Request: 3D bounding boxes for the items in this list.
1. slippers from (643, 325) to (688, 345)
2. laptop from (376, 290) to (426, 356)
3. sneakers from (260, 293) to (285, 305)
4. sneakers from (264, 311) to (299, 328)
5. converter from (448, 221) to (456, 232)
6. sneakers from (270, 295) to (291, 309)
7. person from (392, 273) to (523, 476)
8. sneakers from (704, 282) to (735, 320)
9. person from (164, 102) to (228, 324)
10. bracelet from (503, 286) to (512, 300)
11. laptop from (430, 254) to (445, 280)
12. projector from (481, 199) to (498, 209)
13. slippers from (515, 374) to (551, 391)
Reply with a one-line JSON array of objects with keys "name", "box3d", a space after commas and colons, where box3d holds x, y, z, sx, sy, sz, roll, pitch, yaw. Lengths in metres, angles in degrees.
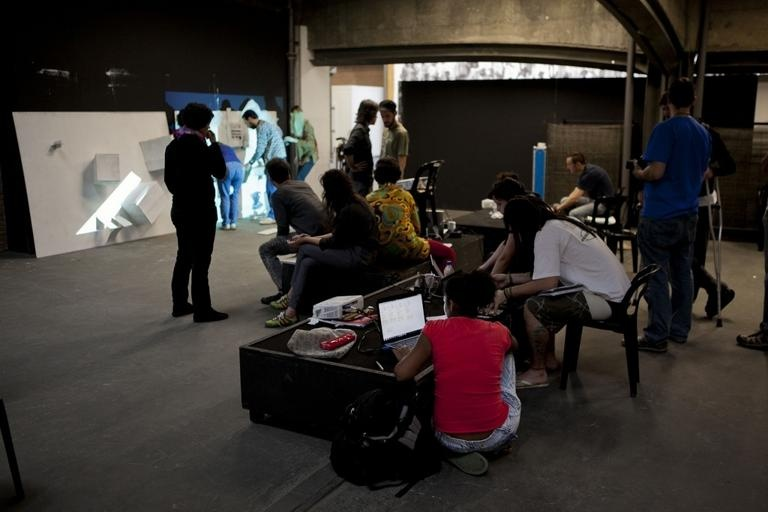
[{"name": "slippers", "box3d": [2.544, 0.716, 4.935, 0.392, 0.172, 0.145, 7, 5, 5]}, {"name": "laptop", "box3d": [0.124, 0.441, 3.800, 0.430, 0.283, 0.314, -10, 13, -38]}, {"name": "sneakers", "box3d": [-1.208, 0.472, 5.938, 0.186, 0.079, 0.070, -17, 12, 9]}, {"name": "sneakers", "box3d": [-1.044, 0.616, 5.316, 0.397, 0.174, 0.136, 0, 8, 4]}, {"name": "converter", "box3d": [0.845, -0.364, 6.777, 0.078, 0.118, 0.124, 0, 0, 7]}, {"name": "sneakers", "box3d": [-1.066, 0.487, 5.659, 0.263, 0.114, 0.100, -1, 4, 28]}, {"name": "person", "box3d": [0.465, 0.700, 3.352, 0.782, 1.212, 0.361, -3, 13, -2]}, {"name": "sneakers", "box3d": [3.451, 0.456, 5.630, 0.235, 0.392, 0.116, 14, 1, 28]}, {"name": "person", "box3d": [-1.881, -0.458, 5.782, 0.573, 2.265, 0.610, -3, -6, -29]}, {"name": "bracelet", "box3d": [0.932, 0.282, 4.082, 0.052, 0.082, 0.081, 3, 8, 15]}, {"name": "laptop", "box3d": [0.513, 0.105, 5.244, 0.024, 0.169, 0.221, -44, 13, 17]}, {"name": "projector", "box3d": [1.436, -0.716, 7.596, 0.247, 0.107, 0.257, 9, 14, 31]}, {"name": "slippers", "box3d": [1.147, 0.994, 4.260, 0.280, 0.125, 0.096, 6, 3, 6]}]
